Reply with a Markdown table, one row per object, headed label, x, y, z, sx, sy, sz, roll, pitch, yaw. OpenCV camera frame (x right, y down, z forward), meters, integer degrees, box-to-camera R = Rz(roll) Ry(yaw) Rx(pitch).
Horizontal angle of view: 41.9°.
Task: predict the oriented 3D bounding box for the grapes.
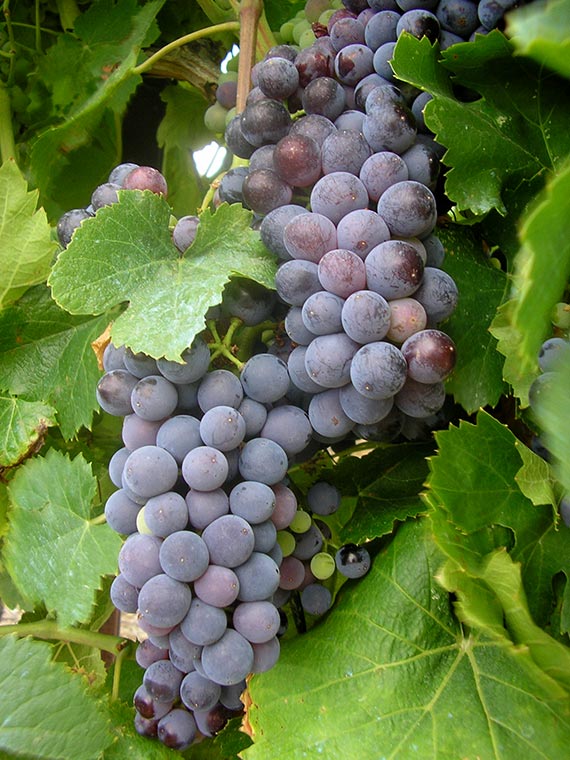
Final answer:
| label | x | y | z | sx | sy | sz | roll | pitch | yaw |
| --- | --- | --- | --- | --- | --- | --- | --- | --- | --- |
| grapes | -0.013 | -0.009 | 0.753 | 0.383 | 0.471 | 0.677 | 4 | 92 | 17 |
